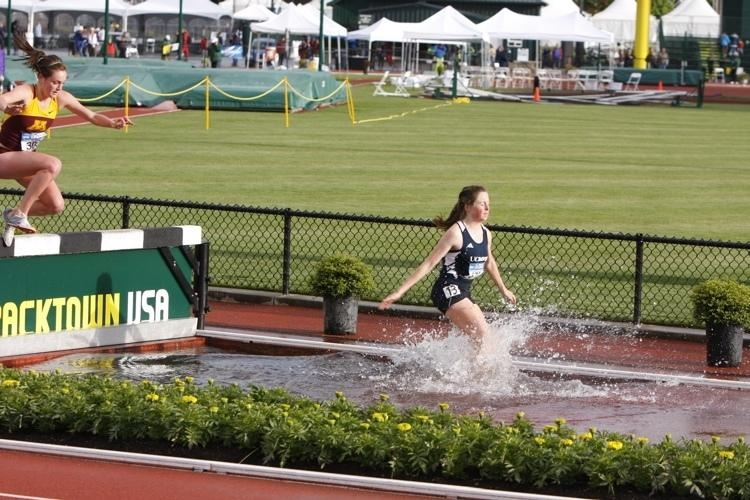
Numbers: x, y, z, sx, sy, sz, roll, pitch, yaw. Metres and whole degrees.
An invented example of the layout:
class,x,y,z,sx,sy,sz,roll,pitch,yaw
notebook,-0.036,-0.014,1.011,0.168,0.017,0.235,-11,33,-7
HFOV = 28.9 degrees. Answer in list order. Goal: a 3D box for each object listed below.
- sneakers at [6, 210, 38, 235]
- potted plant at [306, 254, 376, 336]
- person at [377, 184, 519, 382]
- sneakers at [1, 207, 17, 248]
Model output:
class,x,y,z,sx,sy,sz,roll,pitch,yaw
sneakers,-4.626,-0.363,19.227,0.512,0.213,0.165,29,17,-36
potted plant,-0.638,0.617,21.582,1.146,1.218,1.175,4,3,8
person,1.149,0.356,19.541,1.425,2.456,0.960,1,9,1
sneakers,-4.843,-0.300,19.204,0.251,0.536,0.174,-2,2,8
